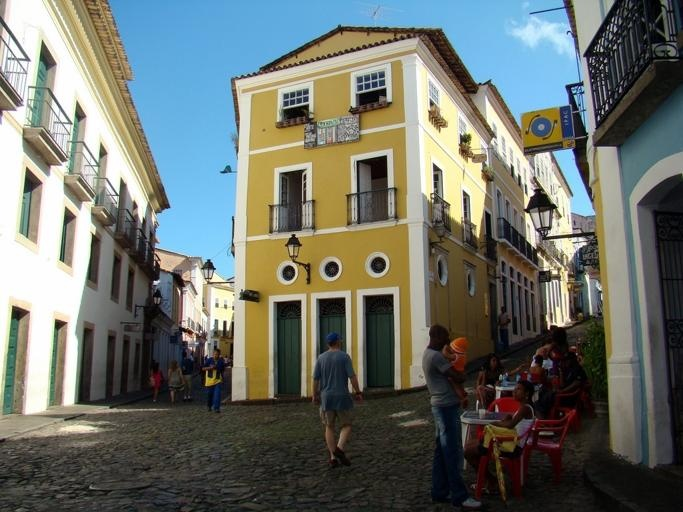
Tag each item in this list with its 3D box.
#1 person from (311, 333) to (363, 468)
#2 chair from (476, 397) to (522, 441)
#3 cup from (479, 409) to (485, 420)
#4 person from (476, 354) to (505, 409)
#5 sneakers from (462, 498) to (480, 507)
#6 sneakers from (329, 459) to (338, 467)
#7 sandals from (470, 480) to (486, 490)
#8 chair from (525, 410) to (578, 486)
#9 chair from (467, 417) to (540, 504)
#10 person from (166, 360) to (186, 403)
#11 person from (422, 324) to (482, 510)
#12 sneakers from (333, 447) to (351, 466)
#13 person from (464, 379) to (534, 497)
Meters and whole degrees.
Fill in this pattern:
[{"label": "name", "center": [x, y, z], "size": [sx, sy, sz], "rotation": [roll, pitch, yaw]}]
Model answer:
[{"label": "person", "center": [-0.093, 2.194, 8.275], "size": [0.718, 1.983, 0.436], "rotation": [-3, -7, 5]}, {"label": "chair", "center": [2.259, 2.377, 7.503], "size": [0.470, 0.514, 0.572], "rotation": [-24, -51, 28]}, {"label": "cup", "center": [1.815, 2.036, 6.919], "size": [0.069, 0.115, 0.074], "rotation": [2, -8, 0]}, {"label": "person", "center": [2.794, 2.412, 10.022], "size": [0.499, 1.092, 0.687], "rotation": [-1, -3, 12]}, {"label": "sneakers", "center": [1.467, 2.787, 6.092], "size": [0.225, 0.114, 0.082], "rotation": [-2, -1, 2]}, {"label": "sneakers", "center": [-0.097, 3.110, 8.082], "size": [0.153, 0.127, 0.093], "rotation": [1, -8, -21]}, {"label": "sandals", "center": [1.727, 2.888, 6.755], "size": [0.210, 0.106, 0.332], "rotation": [0, -14, 2]}, {"label": "chair", "center": [2.700, 2.471, 7.129], "size": [0.460, 0.651, 0.468], "rotation": [5, -5, -1]}, {"label": "chair", "center": [1.888, 2.350, 6.496], "size": [0.743, 1.134, 0.625], "rotation": [-1, 0, 11]}, {"label": "person", "center": [-6.221, 4.690, 20.159], "size": [0.477, 1.593, 2.511], "rotation": [0, -8, -16]}, {"label": "person", "center": [1.278, 1.853, 6.316], "size": [0.560, 2.081, 0.391], "rotation": [-3, -7, 10]}, {"label": "sneakers", "center": [0.001, 3.089, 8.104], "size": [0.171, 0.372, 0.149], "rotation": [-23, 7, 26]}, {"label": "person", "center": [1.933, 2.210, 6.662], "size": [0.790, 1.539, 0.775], "rotation": [9, 3, -10]}]
